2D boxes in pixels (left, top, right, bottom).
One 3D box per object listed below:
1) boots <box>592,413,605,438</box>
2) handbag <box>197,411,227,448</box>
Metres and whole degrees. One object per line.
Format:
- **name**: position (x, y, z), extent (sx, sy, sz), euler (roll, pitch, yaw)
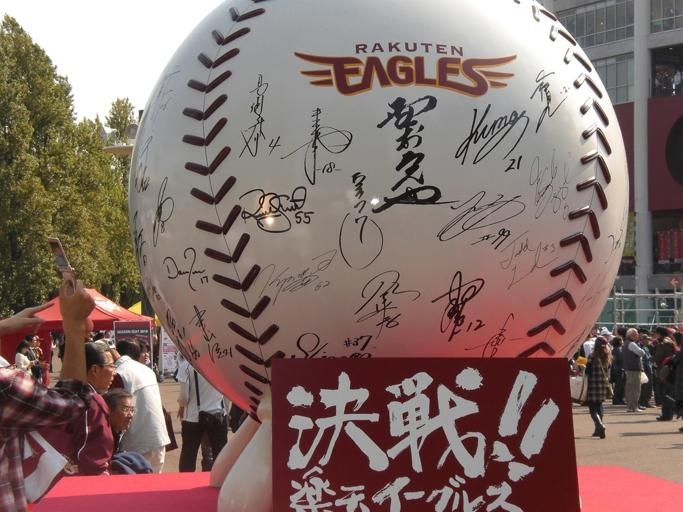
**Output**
- **boots**: position (3.467, 2.249, 11.375), extent (0.136, 0.355, 0.326), euler (-1, -7, 0)
- **handbag**: position (-1.132, 1.516, 7.668), extent (0.205, 0.353, 0.125), euler (8, 16, -4)
